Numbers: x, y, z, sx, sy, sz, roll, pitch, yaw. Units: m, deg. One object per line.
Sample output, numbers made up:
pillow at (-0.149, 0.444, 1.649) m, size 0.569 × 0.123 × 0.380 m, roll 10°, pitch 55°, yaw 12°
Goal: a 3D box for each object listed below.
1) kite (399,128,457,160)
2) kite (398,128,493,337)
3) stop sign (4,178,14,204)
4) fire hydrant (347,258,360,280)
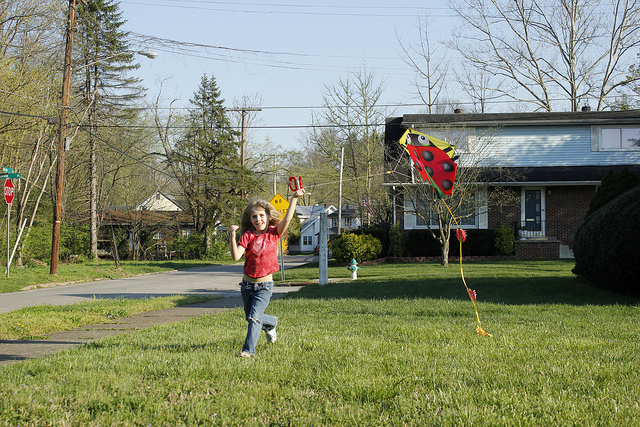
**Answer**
kite at (4.027, -2.573, 31.767) m, size 1.599 × 0.565 × 1.310 m, roll 21°, pitch 15°, yaw -4°
kite at (4.703, 0.834, 31.461) m, size 2.798 × 8.214 × 2.396 m, roll -4°, pitch -2°, yaw -15°
stop sign at (-14.339, -0.972, 39.604) m, size 0.394 × 1.268 × 0.850 m, roll -6°, pitch 12°, yaw -21°
fire hydrant at (1.544, 2.628, 38.828) m, size 0.681 × 1.090 × 0.729 m, roll -1°, pitch -8°, yaw 6°
